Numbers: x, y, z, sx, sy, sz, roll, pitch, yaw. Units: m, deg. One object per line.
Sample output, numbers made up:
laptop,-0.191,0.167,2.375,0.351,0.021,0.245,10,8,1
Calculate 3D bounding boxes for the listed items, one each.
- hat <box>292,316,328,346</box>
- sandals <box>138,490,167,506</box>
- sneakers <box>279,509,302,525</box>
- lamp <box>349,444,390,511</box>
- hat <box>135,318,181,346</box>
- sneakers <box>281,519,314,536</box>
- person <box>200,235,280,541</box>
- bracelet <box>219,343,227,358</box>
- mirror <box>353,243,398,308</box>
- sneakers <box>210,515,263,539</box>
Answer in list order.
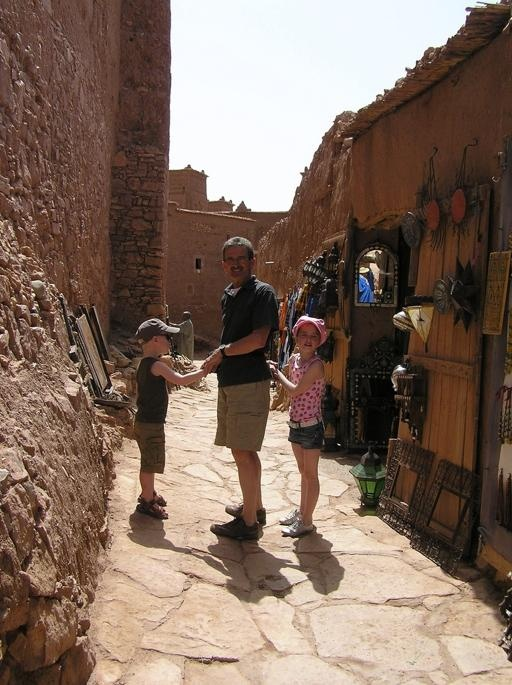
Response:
hat,0.390,-0.091,3.650,0.176,0.229,0.116,5,24,12
sandals,-0.687,1.055,3.483,0.236,0.106,0.081,3,2,-4
sneakers,0.279,1.273,3.812,0.201,0.085,0.073,-13,2,-28
lamp,0.933,1.114,4.336,0.285,0.478,0.281,5,1,20
hat,-0.642,-0.072,3.469,0.266,0.148,0.174,-13,13,-23
sneakers,0.288,1.302,3.654,0.244,0.110,0.088,5,-8,-24
person,-0.114,0.323,3.366,0.441,1.573,0.580,4,1,0
bracelet,-0.186,0.056,3.125,0.044,0.072,0.074,7,17,10
mirror,1.510,-0.828,6.544,0.547,0.825,0.035,3,-8,7
sneakers,-0.119,1.228,3.474,0.347,0.177,0.128,10,-7,-4
